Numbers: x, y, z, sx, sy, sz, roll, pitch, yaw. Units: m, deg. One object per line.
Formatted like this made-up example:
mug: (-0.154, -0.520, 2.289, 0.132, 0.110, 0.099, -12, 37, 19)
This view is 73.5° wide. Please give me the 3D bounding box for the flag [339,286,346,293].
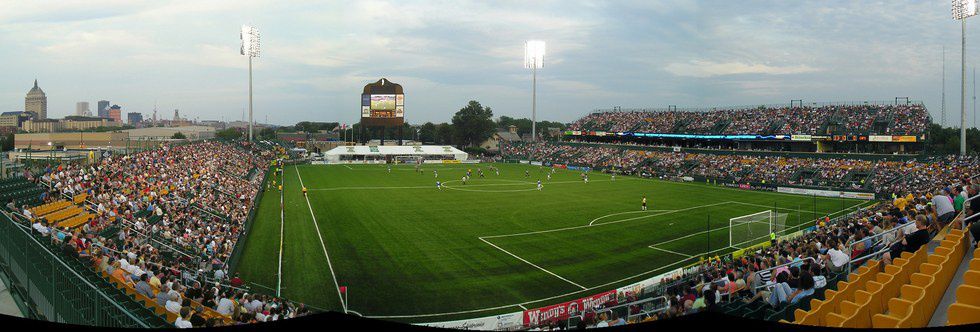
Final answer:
flag: (-23.055, 19.305, 103.002, 0.825, 1.229, 1.357, 0, 3, -4)
